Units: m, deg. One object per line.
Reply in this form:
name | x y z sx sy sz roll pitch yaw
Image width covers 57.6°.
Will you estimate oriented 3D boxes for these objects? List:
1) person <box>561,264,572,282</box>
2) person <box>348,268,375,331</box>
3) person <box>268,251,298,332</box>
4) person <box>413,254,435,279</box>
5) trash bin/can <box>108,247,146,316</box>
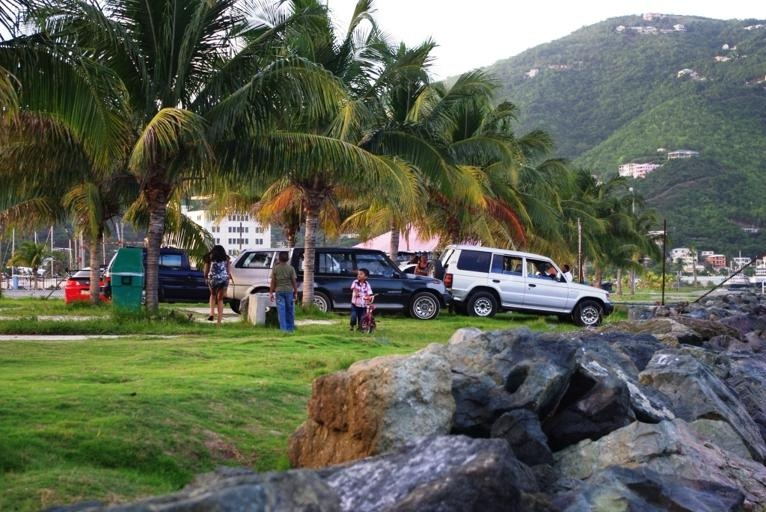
person | 7.516 0.657 28.669 0.401 1.200 0.378 4 9 30
person | -0.604 1.156 18.989 0.571 1.619 0.978 0 -5 -1
person | -2.692 0.910 18.769 0.650 2.188 1.042 0 -5 -8
person | 1.579 0.400 27.611 0.536 1.641 0.501 -9 9 -29
trash bin/can | -7.183 0.601 19.458 0.797 1.723 0.514 1 -5 -15
